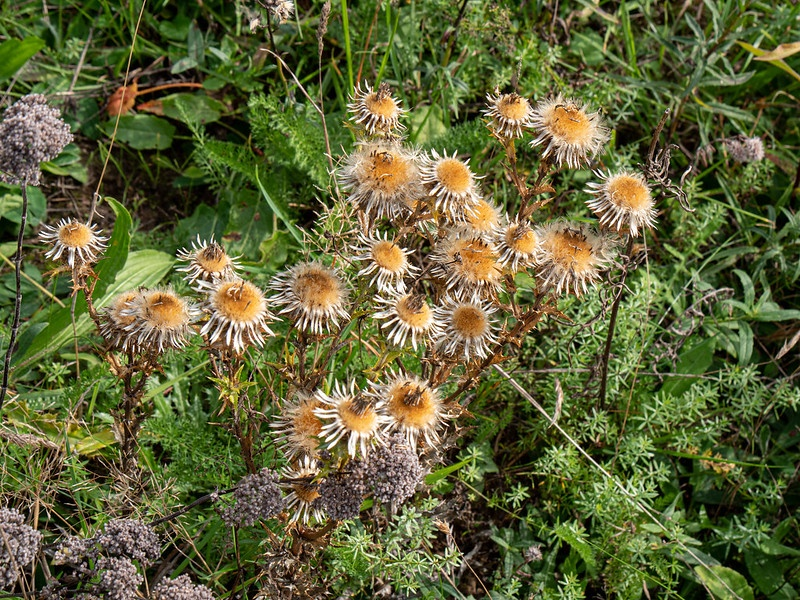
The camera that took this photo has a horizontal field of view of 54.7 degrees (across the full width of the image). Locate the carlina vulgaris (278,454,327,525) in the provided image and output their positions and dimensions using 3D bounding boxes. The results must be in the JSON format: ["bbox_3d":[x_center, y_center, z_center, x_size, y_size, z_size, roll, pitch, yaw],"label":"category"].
[{"bbox_3d":[-0.457,0.869,3.568,0.115,0.260,0.295,11,-77,-33],"label":"carlina vulgaris"}]
